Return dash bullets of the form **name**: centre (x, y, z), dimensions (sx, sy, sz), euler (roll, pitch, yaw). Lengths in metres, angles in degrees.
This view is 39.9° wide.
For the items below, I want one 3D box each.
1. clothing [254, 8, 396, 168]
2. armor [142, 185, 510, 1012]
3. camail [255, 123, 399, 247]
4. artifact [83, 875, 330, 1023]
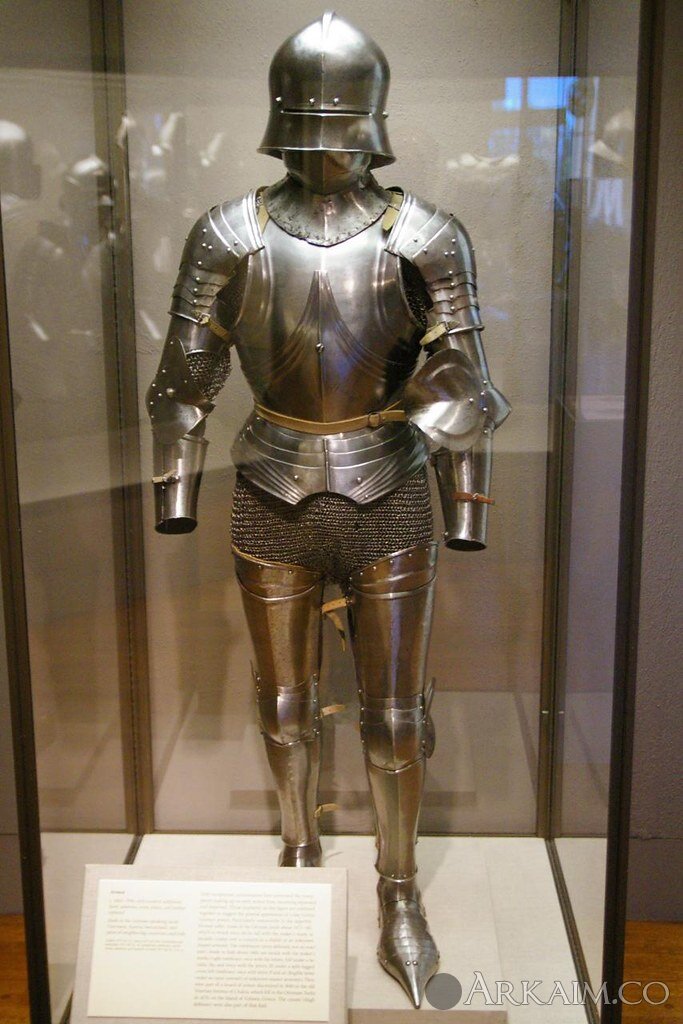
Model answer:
- **clothing**: centre (-0.025, -0.674, 1.491), dimensions (0.210, 0.222, 0.237), euler (2, 19, 0)
- **armor**: centre (-0.025, 0.107, 1.598), dimensions (0.525, 1.281, 0.323), euler (7, 17, 27)
- **camail**: centre (-0.033, -0.569, 1.543), dimensions (0.233, 0.156, 0.303), euler (4, 33, 2)
- **artifact**: centre (-0.166, 0.677, 1.532), dimensions (0.329, 0.188, 0.065), euler (-1, -12, 6)
